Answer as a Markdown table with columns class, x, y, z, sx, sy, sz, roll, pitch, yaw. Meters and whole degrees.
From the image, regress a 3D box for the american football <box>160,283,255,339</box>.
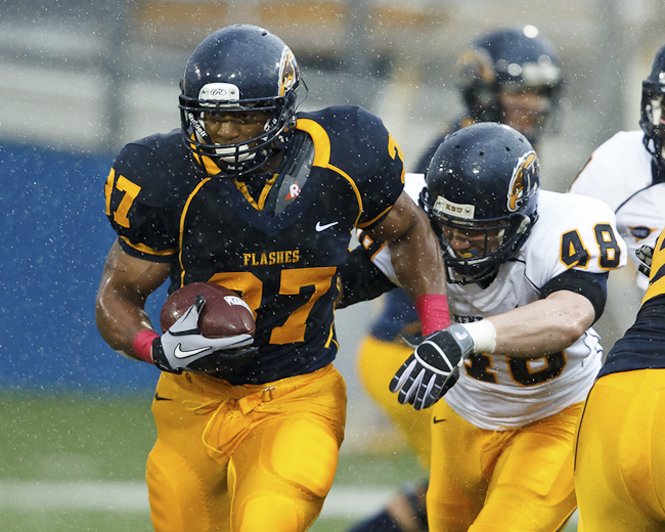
| class | x | y | z | sx | sy | sz | roll | pitch | yaw |
| --- | --- | --- | --- | --- | --- | --- | --- | --- | --- |
| american football | -0.447 | 0.199 | 3.828 | 0.384 | 0.144 | 0.281 | 7 | 11 | 44 |

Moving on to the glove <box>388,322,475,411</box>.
| class | x | y | z | sx | sy | sz | roll | pitch | yaw |
| --- | --- | --- | --- | --- | --- | --- | --- | --- | --- |
| glove | 0.369 | 0.392 | 3.723 | 0.202 | 0.362 | 0.097 | 39 | 8 | 23 |

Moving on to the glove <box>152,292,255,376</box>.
| class | x | y | z | sx | sy | sz | roll | pitch | yaw |
| --- | --- | --- | --- | --- | --- | --- | --- | --- | --- |
| glove | -0.459 | 0.248 | 3.745 | 0.322 | 0.272 | 0.260 | 7 | -6 | -27 |

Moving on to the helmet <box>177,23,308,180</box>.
| class | x | y | z | sx | sy | sz | roll | pitch | yaw |
| --- | --- | --- | --- | --- | --- | --- | --- | --- | --- |
| helmet | -0.302 | -0.684 | 3.886 | 0.434 | 0.467 | 0.554 | 2 | 40 | 14 |
